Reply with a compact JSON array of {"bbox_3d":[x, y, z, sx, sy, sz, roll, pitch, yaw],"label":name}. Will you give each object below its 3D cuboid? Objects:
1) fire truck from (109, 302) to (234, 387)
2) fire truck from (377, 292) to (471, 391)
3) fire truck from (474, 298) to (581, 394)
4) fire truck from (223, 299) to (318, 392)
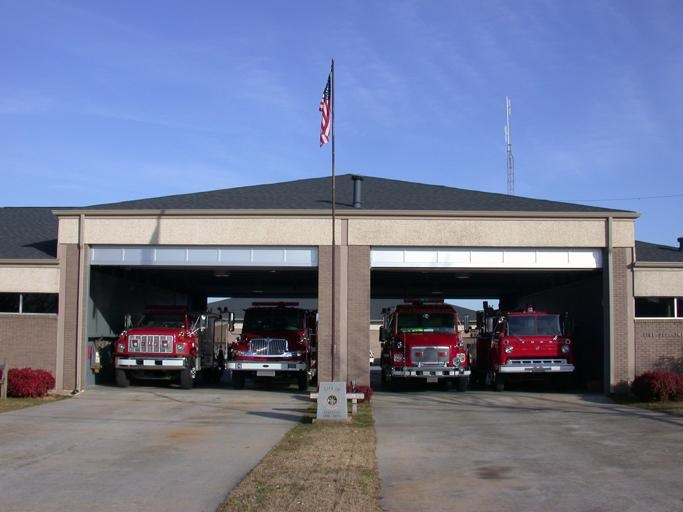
[{"bbox_3d":[-5.821,3.154,30.105,2.528,2.108,5.151,-2,-12,5],"label":"fire truck"},{"bbox_3d":[2.625,3.003,28.938,2.630,3.005,3.548,1,-9,-8],"label":"fire truck"},{"bbox_3d":[6.588,3.365,31.355,2.876,2.981,6.728,-1,-15,3],"label":"fire truck"},{"bbox_3d":[-2.242,2.813,30.427,3.141,2.677,5.694,1,2,4],"label":"fire truck"}]
